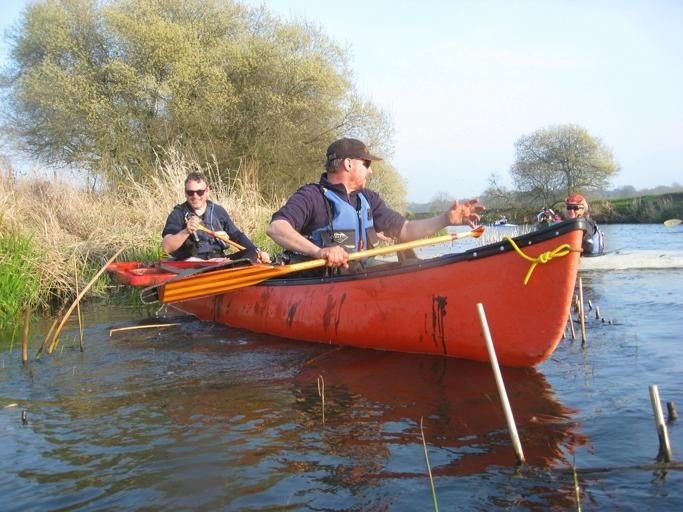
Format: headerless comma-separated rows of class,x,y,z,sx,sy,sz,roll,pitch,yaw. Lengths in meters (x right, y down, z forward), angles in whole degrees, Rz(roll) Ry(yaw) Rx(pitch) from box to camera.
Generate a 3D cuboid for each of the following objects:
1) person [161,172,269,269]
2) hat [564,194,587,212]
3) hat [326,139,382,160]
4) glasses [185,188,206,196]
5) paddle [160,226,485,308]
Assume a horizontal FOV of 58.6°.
person,-1.633,-0.333,7.526,1.486,1.128,1.026,6,19,38
hat,3.904,-0.861,10.017,0.348,0.216,0.490,0,0,30
hat,0.079,-1.037,6.074,0.660,0.195,0.368,-2,8,-10
glasses,-1.820,-0.771,7.538,0.245,0.089,0.114,-3,9,-11
paddle,-0.303,0.130,6.080,3.519,0.322,0.240,-12,-30,-5
